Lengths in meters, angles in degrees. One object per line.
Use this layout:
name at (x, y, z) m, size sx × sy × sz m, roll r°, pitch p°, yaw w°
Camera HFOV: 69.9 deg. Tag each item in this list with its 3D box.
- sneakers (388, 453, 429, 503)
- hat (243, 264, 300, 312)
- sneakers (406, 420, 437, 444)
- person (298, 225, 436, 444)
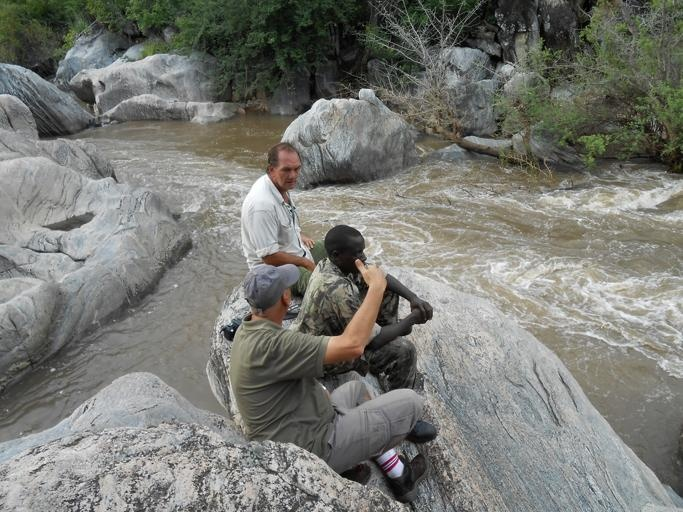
sneakers at (0.514, 1.565, 3.621) m, size 0.138 × 0.291 × 0.404 m, roll -19°, pitch 17°, yaw 44°
hat at (-0.467, 0.200, 3.381) m, size 0.248 × 0.209 × 0.369 m, roll 28°, pitch 62°, yaw 37°
sneakers at (0.650, 1.409, 3.915) m, size 0.275 × 0.140 × 0.130 m, roll -7°, pitch 42°, yaw 2°
person at (0.198, 0.518, 4.352) m, size 1.182 × 1.686 × 1.002 m, roll -8°, pitch 29°, yaw -3°
